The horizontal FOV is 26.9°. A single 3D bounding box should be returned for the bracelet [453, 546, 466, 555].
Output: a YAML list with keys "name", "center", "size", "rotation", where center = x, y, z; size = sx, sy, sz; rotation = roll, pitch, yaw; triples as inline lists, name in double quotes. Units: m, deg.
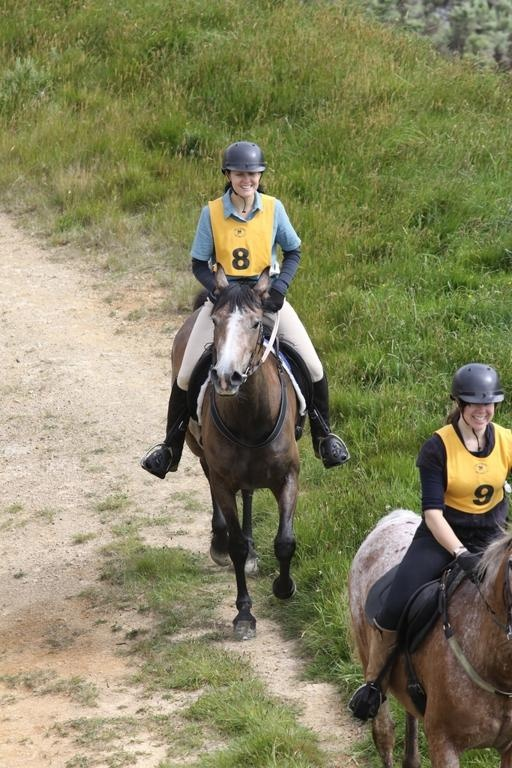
- name: "bracelet"
  center: [1.049, 0.859, 5.530]
  size: [0.055, 0.032, 0.055]
  rotation: [-27, -30, 22]

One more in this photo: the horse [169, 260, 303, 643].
- name: "horse"
  center: [-0.072, 0.469, 8.322]
  size: [0.929, 2.800, 2.181]
  rotation: [6, 16, -4]

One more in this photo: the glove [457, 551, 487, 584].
- name: "glove"
  center: [1.099, 0.929, 5.478]
  size: [0.116, 0.145, 0.127]
  rotation: [-12, 3, 6]

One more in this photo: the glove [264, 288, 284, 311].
- name: "glove"
  center: [0.133, -0.623, 7.813]
  size: [0.137, 0.154, 0.118]
  rotation: [11, 55, 7]

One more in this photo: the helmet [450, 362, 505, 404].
- name: "helmet"
  center: [1.175, -0.013, 5.788]
  size: [0.194, 0.135, 0.264]
  rotation: [-3, 12, -10]

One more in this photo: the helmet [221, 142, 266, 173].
- name: "helmet"
  center: [-0.094, -1.696, 8.060]
  size: [0.316, 0.245, 0.259]
  rotation: [6, 15, -4]
